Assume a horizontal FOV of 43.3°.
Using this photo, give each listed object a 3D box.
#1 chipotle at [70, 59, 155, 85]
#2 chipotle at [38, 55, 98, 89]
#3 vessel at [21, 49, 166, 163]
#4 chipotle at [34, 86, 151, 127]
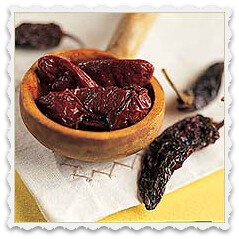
[{"bbox_3d":[-0.010,-0.170,1.047,0.179,0.045,0.102,2,59,2],"label":"chipotle"},{"bbox_3d":[-0.182,-0.146,1.058,0.197,0.105,0.058,24,-7,-4],"label":"chipotle"},{"bbox_3d":[-0.084,0.016,1.062,0.507,0.197,0.514,-10,-11,22],"label":"vessel"},{"bbox_3d":[-0.073,-0.043,0.941,0.260,0.068,0.154,0,48,0],"label":"chipotle"}]
